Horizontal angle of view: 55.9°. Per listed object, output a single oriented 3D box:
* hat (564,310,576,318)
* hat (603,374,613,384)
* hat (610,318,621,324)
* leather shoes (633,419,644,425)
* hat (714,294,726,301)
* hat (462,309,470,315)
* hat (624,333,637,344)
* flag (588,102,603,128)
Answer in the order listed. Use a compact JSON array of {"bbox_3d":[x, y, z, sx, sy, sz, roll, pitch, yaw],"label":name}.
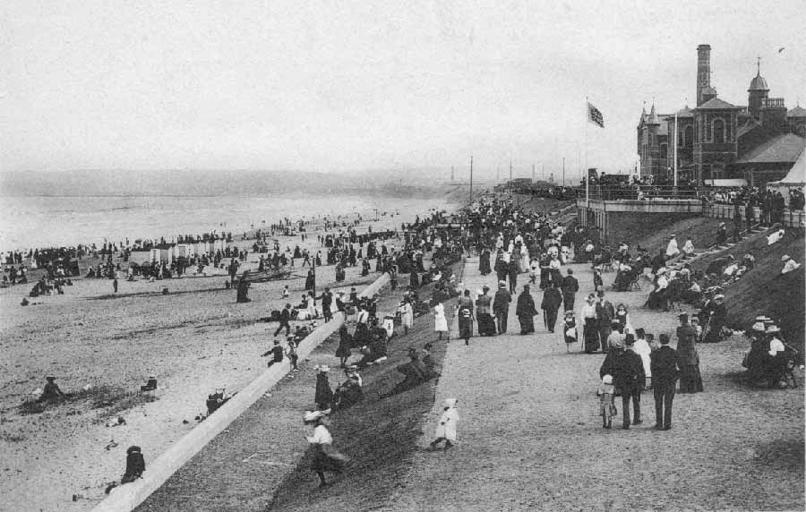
[{"bbox_3d":[6.251,2.144,28.057,0.480,0.122,0.487,-1,3,26],"label":"hat"},{"bbox_3d":[5.672,3.330,20.702,0.232,0.231,0.459,-4,7,15],"label":"hat"},{"bbox_3d":[6.851,2.072,24.119,0.389,0.094,0.401,0,1,-39],"label":"hat"},{"bbox_3d":[6.581,4.596,20.992,0.233,0.160,0.216,1,-1,-27],"label":"leather shoes"},{"bbox_3d":[11.532,1.495,27.359,0.355,0.087,0.337,-10,11,-17],"label":"hat"},{"bbox_3d":[2.411,2.093,28.262,0.225,0.188,0.213,-2,7,8],"label":"hat"},{"bbox_3d":[6.308,2.288,20.836,0.211,0.343,0.417,-4,7,17],"label":"hat"},{"bbox_3d":[13.757,-9.819,53.249,1.020,1.580,0.677,-7,7,-14],"label":"flag"}]
